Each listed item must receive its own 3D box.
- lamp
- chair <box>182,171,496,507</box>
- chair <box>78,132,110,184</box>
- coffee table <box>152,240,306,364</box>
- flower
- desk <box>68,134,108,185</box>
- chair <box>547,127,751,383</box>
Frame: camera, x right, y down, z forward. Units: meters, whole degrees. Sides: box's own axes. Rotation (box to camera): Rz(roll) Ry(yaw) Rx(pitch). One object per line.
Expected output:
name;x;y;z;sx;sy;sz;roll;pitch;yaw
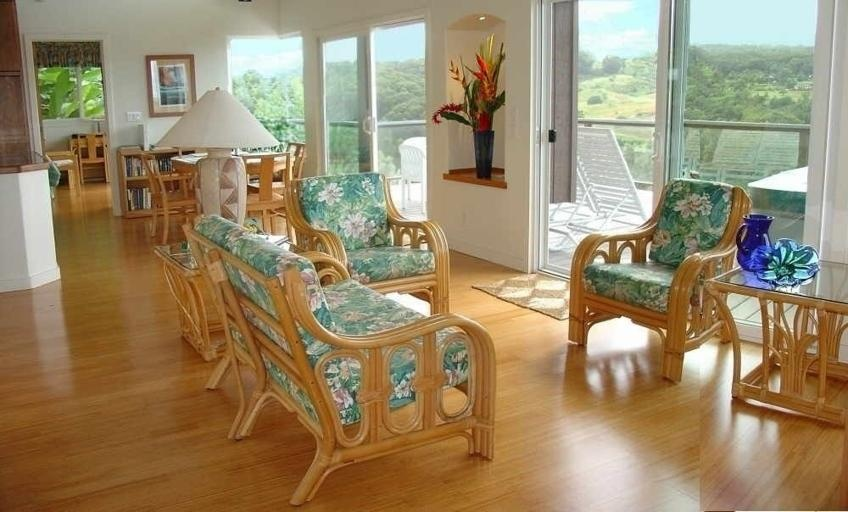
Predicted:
lamp;-1.627;-0.725;4.399;1.006;1.031;0.895;-3;13;-24
chair;-0.641;0.304;3.468;1.477;1.161;1.909;-8;21;-27
chair;-7.188;-2.073;12.208;0.707;0.953;0.679;-3;3;0
coffee table;-1.734;0.353;4.716;1.079;0.791;1.181;13;19;42
flower;0.515;-1.822;6.202;0.963;0.877;0.734;-8;16;15
desk;-7.396;-2.070;12.030;0.792;1.023;0.805;-3;11;20
chair;1.796;0.109;4.210;1.025;1.270;0.973;-16;21;-41
